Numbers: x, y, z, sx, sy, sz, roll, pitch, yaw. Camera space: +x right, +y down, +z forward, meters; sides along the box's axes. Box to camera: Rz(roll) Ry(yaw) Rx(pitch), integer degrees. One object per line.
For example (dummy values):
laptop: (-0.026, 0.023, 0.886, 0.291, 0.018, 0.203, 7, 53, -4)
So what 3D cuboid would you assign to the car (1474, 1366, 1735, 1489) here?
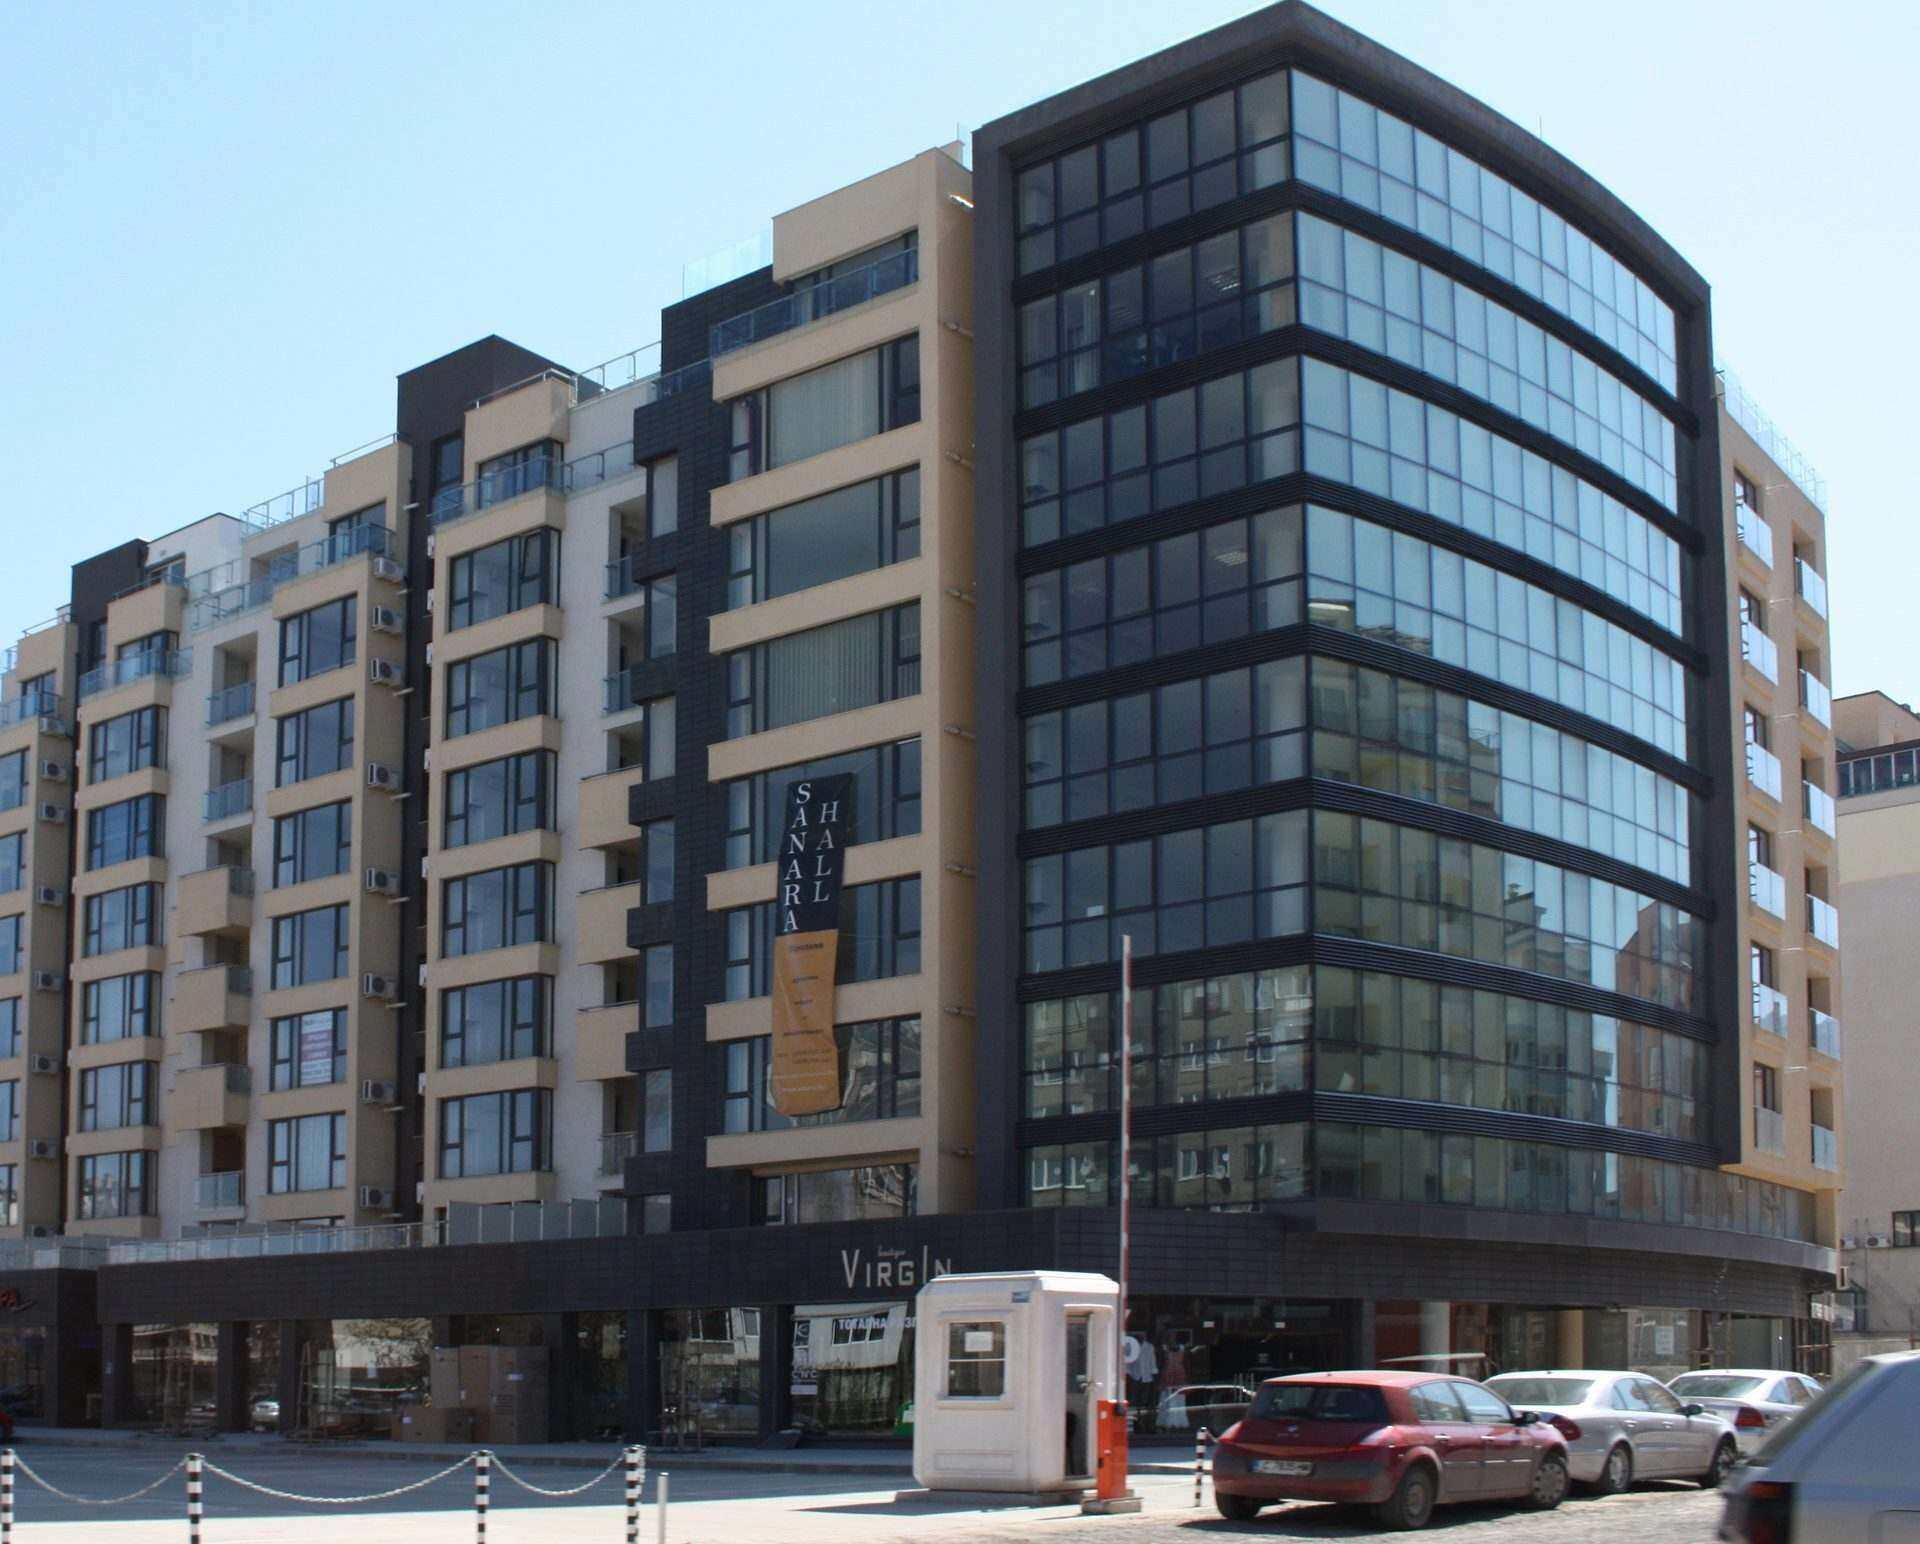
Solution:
car: (10.679, 10.688, 46.693, 4.713, 1.716, 1.810, 5, -10, -31)
